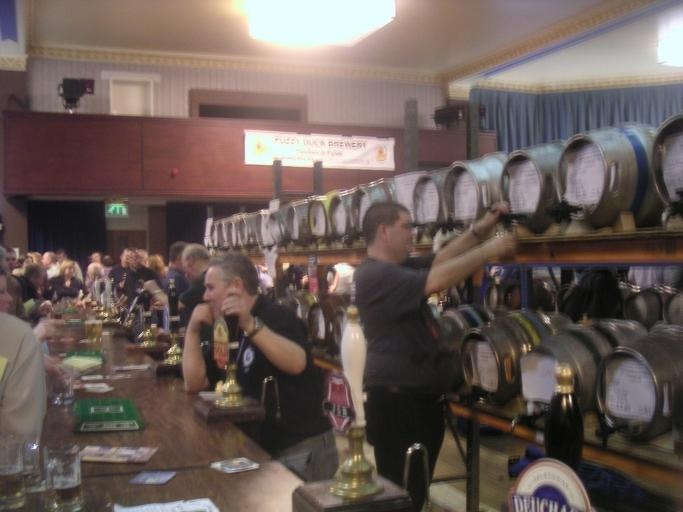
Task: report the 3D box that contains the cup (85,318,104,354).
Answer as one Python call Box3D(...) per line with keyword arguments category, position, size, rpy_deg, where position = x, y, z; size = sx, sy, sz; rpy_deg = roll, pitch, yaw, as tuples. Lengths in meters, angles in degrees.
Box3D(category="cup", position=(-1.891, 0.565, 4.541), size=(0.148, 0.253, 0.149), rpy_deg=(7, 7, -1))

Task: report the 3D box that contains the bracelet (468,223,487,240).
Box3D(category="bracelet", position=(0.643, -0.120, 2.878), size=(0.048, 0.069, 0.068), rpy_deg=(-2, 44, -23))
